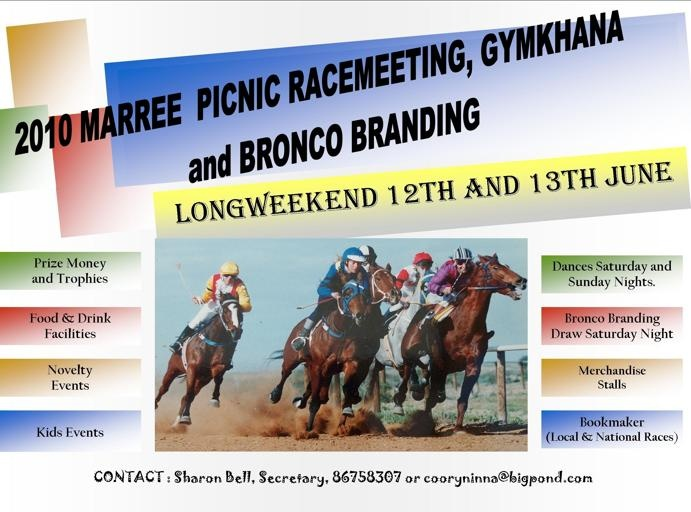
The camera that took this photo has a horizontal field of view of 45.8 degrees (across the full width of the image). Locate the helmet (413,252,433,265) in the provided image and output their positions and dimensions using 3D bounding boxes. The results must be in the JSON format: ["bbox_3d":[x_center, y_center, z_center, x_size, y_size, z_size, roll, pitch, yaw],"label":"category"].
[{"bbox_3d":[0.872,0.028,9.240,0.158,0.101,0.123,0,-1,15],"label":"helmet"}]

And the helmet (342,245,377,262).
[{"bbox_3d":[0.160,-0.035,9.239,0.259,0.148,0.193,-5,-1,23],"label":"helmet"}]
